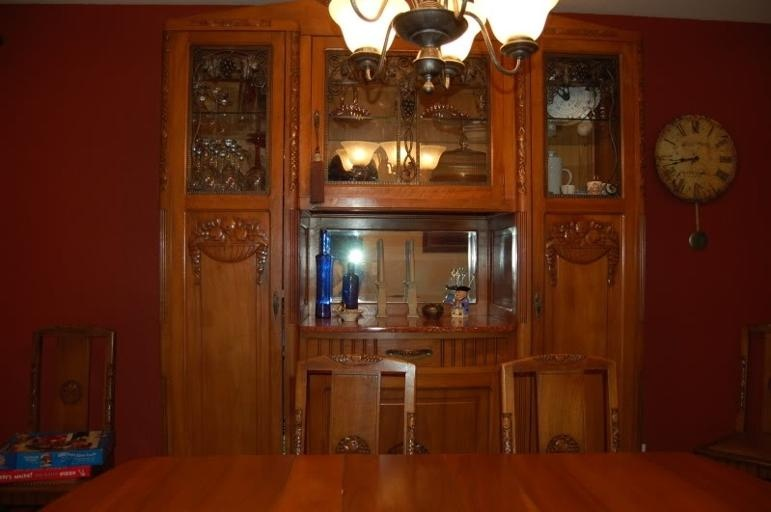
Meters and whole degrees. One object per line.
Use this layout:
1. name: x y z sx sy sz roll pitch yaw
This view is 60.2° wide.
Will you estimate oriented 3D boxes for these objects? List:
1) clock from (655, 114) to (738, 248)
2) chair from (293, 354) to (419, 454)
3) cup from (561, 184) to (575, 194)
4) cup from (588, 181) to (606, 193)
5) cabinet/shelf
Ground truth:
1. clock: 2.154 -0.512 4.628 0.572 0.931 0.080 0 -2 -8
2. chair: -0.153 0.846 3.602 0.644 0.665 0.934 0 -2 1
3. cup: 1.147 -0.417 4.185 0.063 0.052 0.059 2 5 0
4. cup: 1.329 -0.427 4.195 0.080 0.078 0.083 -2 5 0
5. cabinet/shelf: 0.075 -0.176 3.983 2.837 2.892 0.891 0 3 0
